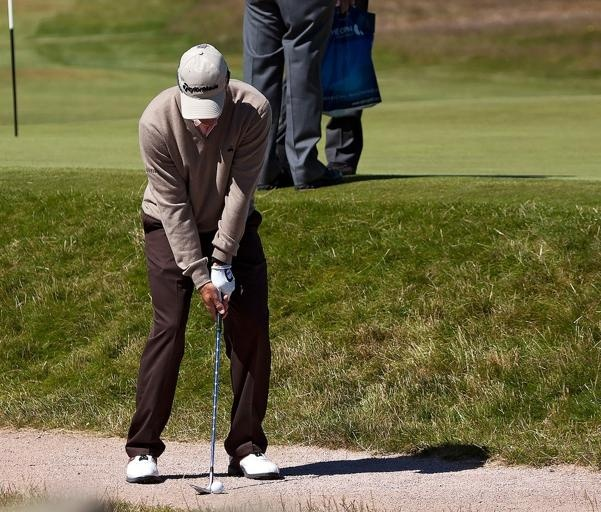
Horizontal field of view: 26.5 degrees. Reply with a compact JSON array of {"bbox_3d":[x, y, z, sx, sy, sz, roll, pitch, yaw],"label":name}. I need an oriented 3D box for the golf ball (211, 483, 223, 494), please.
[{"bbox_3d":[-0.498,1.380,7.635,0.070,0.076,0.116,-1,9,-1],"label":"golf ball"}]

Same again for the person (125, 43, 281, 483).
[{"bbox_3d":[-0.601,0.070,7.766,0.913,2.665,0.513,-1,9,-3],"label":"person"}]

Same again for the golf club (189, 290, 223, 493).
[{"bbox_3d":[-0.524,0.902,7.849,0.225,1.143,0.244,4,-3,-36],"label":"golf club"}]

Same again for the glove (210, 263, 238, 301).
[{"bbox_3d":[-0.464,0.152,7.698,0.096,0.235,0.115,-19,-4,13],"label":"glove"}]

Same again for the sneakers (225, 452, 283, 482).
[{"bbox_3d":[-0.281,1.308,7.895,0.291,0.151,0.144,-6,-9,38],"label":"sneakers"}]

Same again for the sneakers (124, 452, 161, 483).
[{"bbox_3d":[-0.963,1.287,7.737,0.169,0.165,0.334,2,-1,-7],"label":"sneakers"}]

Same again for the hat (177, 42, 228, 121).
[{"bbox_3d":[-0.578,-1.022,7.559,0.311,0.442,0.286,-1,9,-5],"label":"hat"}]
